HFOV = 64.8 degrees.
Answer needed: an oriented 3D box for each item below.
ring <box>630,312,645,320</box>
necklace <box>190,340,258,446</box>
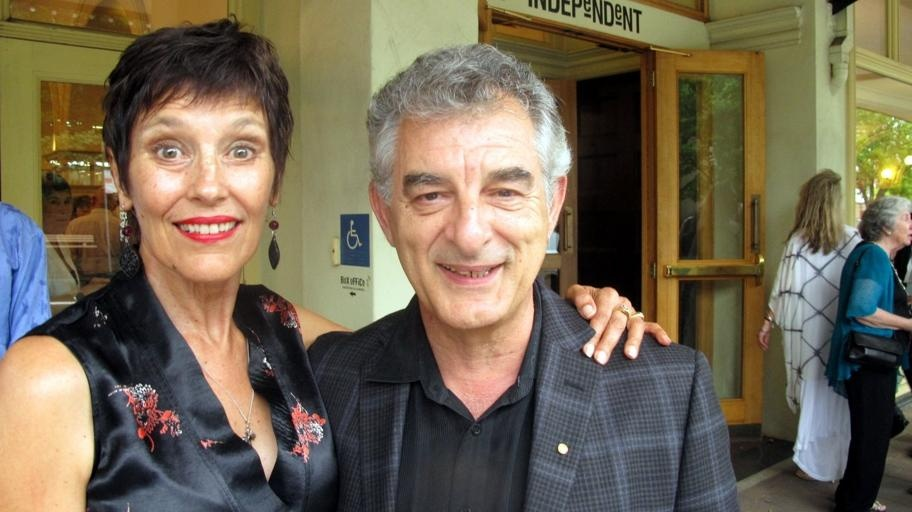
[{"bbox_3d":[0.987,0.328,3.923,0.062,0.026,0.065,0,0,0],"label":"ring"},{"bbox_3d":[-1.235,0.778,3.894,0.083,0.473,0.277,-32,-22,26],"label":"necklace"}]
